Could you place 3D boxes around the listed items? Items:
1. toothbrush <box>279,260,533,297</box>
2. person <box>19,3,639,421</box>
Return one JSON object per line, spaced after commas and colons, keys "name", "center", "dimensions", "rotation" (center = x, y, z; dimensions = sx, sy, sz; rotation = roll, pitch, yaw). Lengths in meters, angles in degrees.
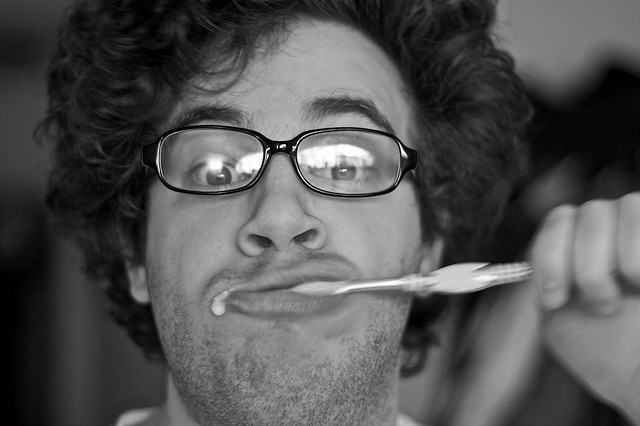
{"name": "toothbrush", "center": [0.152, 0.129, 1.468], "dimensions": [0.416, 0.024, 0.053], "rotation": [-6, 43, 8]}
{"name": "person", "center": [0.007, 0.008, 1.637], "dimensions": [1.401, 0.594, 0.924], "rotation": [9, 64, 6]}
